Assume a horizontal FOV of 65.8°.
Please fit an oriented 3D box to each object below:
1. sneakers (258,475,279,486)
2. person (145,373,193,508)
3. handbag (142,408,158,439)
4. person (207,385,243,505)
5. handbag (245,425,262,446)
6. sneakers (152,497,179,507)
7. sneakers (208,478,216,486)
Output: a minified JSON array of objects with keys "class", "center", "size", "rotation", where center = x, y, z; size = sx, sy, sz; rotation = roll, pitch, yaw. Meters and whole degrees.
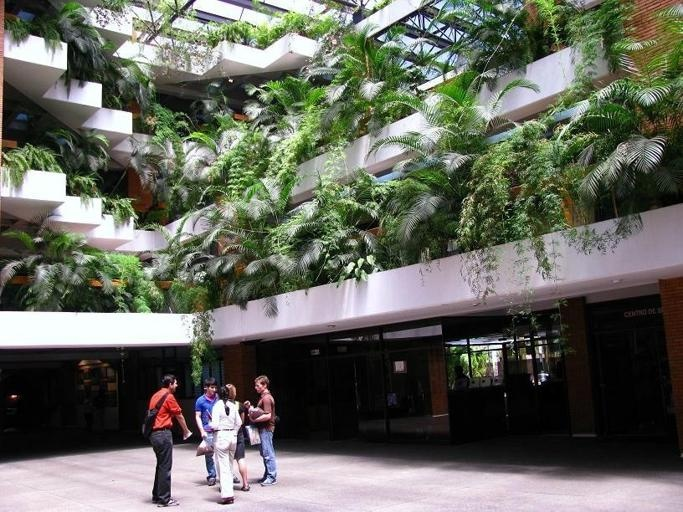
[{"class":"sneakers","center":[-1.354,4.136,9.708],"size":[0.327,0.141,0.132],"rotation":[6,-10,-7]},{"class":"person","center":[-2.936,3.080,8.925],"size":[0.625,2.088,1.116],"rotation":[1,-14,-17]},{"class":"handbag","center":[-3.105,2.703,8.531],"size":[0.176,0.429,0.361],"rotation":[5,-16,-31]},{"class":"person","center":[-1.909,3.108,8.767],"size":[0.507,1.826,0.709],"rotation":[0,-13,-13]},{"class":"handbag","center":[-1.623,3.295,9.544],"size":[0.278,0.390,0.112],"rotation":[1,-21,-42]},{"class":"sneakers","center":[-2.897,4.029,8.631],"size":[0.569,0.113,0.281],"rotation":[-9,-15,19]},{"class":"sneakers","center":[-2.493,4.368,10.186],"size":[0.111,0.143,0.149],"rotation":[-23,-46,18]}]
